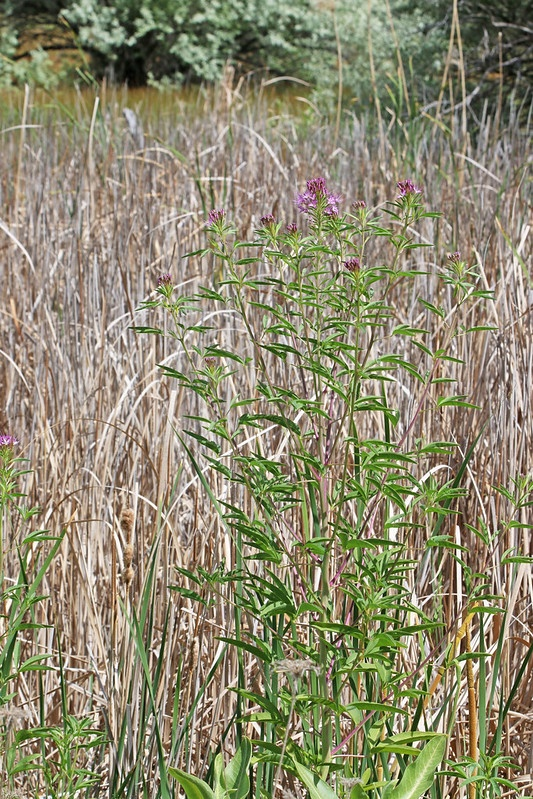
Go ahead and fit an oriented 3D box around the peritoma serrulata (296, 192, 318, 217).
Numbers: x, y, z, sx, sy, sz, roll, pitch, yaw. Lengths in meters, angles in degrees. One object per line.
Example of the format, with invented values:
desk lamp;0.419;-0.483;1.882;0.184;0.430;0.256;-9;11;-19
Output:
peritoma serrulata;0.088;-0.418;3.219;0.032;0.053;0.044;-3;7;6

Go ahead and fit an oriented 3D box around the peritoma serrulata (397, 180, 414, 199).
peritoma serrulata;0.299;-0.459;3.269;0.027;0.048;0.038;8;15;11

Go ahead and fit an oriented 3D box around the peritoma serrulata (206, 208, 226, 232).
peritoma serrulata;-0.108;-0.382;3.258;0.033;0.066;0.043;2;3;-2

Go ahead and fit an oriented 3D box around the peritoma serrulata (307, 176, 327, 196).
peritoma serrulata;0.106;-0.455;3.210;0.028;0.051;0.038;1;9;9
